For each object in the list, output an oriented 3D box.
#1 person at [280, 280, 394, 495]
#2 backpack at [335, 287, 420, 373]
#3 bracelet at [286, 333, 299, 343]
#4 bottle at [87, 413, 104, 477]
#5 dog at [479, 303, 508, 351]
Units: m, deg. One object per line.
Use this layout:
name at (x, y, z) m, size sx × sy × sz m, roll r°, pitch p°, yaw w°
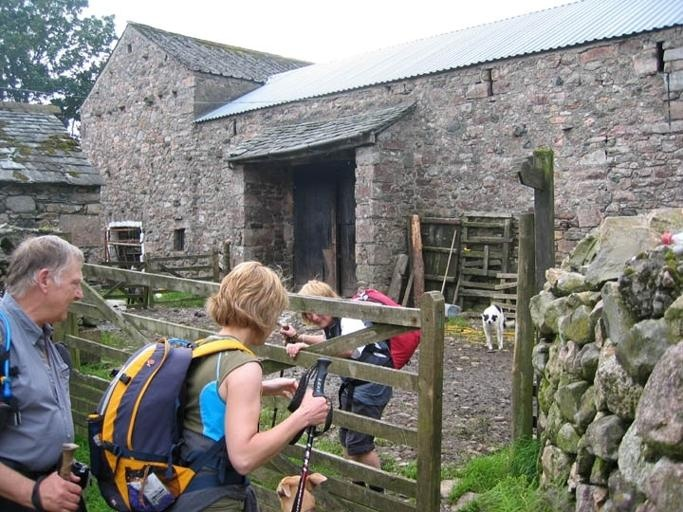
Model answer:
person at (-0.053, 1.014, 4.623) m, size 0.783 × 1.559 × 0.666 m, roll 0°, pitch -2°, yaw -19°
backpack at (0.330, 0.577, 4.538) m, size 0.423 × 0.457 × 0.299 m, roll 10°, pitch 2°, yaw -13°
bracelet at (-0.331, 0.570, 4.365) m, size 0.066 × 0.039 × 0.053 m, roll 0°, pitch 8°, yaw 34°
bottle at (-1.218, 0.964, 3.218) m, size 0.079 × 0.328 × 0.074 m, roll 1°, pitch -13°, yaw 0°
dog at (2.227, 1.043, 9.309) m, size 0.258 × 0.638 × 1.055 m, roll -4°, pitch -2°, yaw 20°
